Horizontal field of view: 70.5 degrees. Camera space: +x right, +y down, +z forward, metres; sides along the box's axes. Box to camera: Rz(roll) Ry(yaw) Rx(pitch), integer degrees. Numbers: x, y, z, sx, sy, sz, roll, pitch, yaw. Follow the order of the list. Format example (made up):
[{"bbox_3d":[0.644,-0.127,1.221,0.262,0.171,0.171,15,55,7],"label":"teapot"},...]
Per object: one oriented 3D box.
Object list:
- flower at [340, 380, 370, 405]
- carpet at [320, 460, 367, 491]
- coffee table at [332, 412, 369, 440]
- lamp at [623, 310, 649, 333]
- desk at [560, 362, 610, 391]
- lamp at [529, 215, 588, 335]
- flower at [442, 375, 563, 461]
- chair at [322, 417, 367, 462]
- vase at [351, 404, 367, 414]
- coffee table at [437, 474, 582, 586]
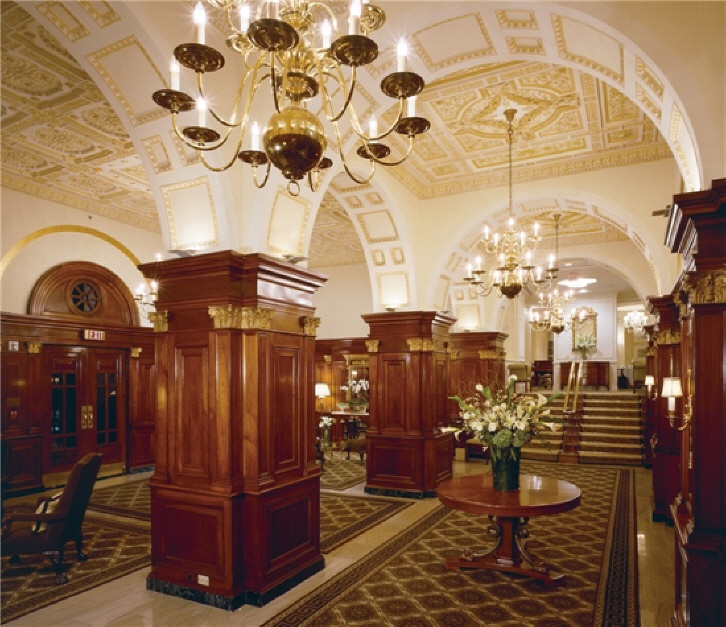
[{"bbox_3d":[-0.229,2.111,13.859,0.951,0.747,0.987,-3,-8,29],"label":"flower"},{"bbox_3d":[-0.419,3.372,10.759,0.650,0.025,1.647,0,-2,9],"label":"carpet"},{"bbox_3d":[-0.351,2.976,13.792,1.041,0.676,1.064,4,-8,-19],"label":"coffee table"},{"bbox_3d":[9.944,0.267,18.752,0.807,0.947,0.837,4,-10,-8],"label":"lamp"},{"bbox_3d":[8.262,2.275,18.957,1.703,1.286,0.564,-3,-6,34],"label":"desk"},{"bbox_3d":[5.394,-0.931,14.415,1.290,3.184,1.290,-2,2,-29],"label":"lamp"},{"bbox_3d":[1.701,1.341,6.061,1.060,0.834,1.005,-1,-4,-42],"label":"flower"},{"bbox_3d":[-0.683,3.499,13.775,1.342,1.019,1.380,6,-10,-31],"label":"chair"},{"bbox_3d":[-0.098,2.365,12.806,0.392,0.162,0.257,0,-5,-3],"label":"vase"},{"bbox_3d":[1.683,2.473,5.990,1.544,0.968,1.550,-3,-3,32],"label":"coffee table"}]
